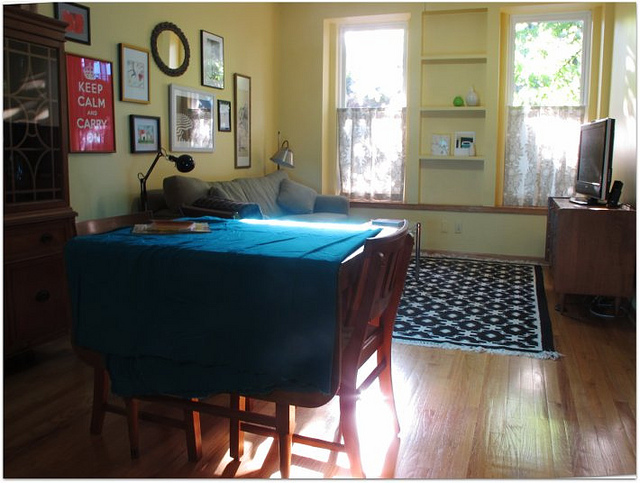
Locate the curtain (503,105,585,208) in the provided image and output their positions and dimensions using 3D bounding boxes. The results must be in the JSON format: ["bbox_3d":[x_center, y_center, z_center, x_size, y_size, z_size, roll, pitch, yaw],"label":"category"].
[{"bbox_3d":[2.821,-1.093,5.719,0.886,1.253,0.259,5,13,23],"label":"curtain"}]

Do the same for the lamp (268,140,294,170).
[{"bbox_3d":[-0.488,-1.174,6.044,0.250,0.402,0.814,0,13,-2],"label":"lamp"}]

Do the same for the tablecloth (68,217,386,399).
[{"bbox_3d":[-0.431,0.258,1.742,0.870,0.467,0.775,4,28,3],"label":"tablecloth"}]

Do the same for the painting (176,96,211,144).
[{"bbox_3d":[-1.345,-1.306,4.756,0.013,0.410,0.547,4,10,19],"label":"painting"}]

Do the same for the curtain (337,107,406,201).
[{"bbox_3d":[0.758,-1.255,6.199,1.210,1.573,0.116,3,18,17],"label":"curtain"}]

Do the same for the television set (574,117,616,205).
[{"bbox_3d":[2.570,-0.742,4.196,0.199,0.757,0.754,1,11,14],"label":"television set"}]

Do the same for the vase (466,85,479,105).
[{"bbox_3d":[1.952,-1.897,5.750,0.134,0.253,0.171,6,14,25],"label":"vase"}]
